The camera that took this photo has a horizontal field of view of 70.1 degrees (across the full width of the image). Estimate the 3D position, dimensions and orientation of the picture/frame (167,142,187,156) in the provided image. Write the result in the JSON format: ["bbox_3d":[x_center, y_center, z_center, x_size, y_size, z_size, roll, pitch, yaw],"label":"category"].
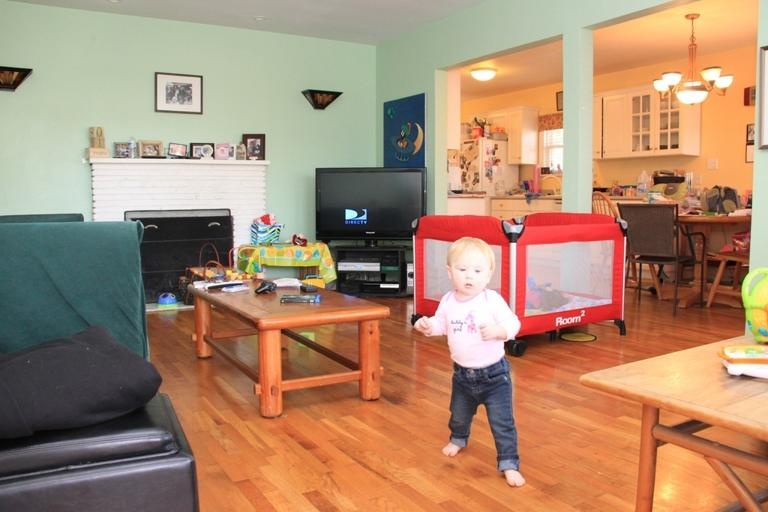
[{"bbox_3d":[-2.222,-1.125,5.890,0.199,0.142,0.176,5,-5,-12],"label":"picture/frame"}]

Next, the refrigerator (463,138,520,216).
[{"bbox_3d":[1.796,-1.444,9.425,0.714,1.207,0.642,-12,17,-21],"label":"refrigerator"}]

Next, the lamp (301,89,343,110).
[{"bbox_3d":[-0.725,-1.850,6.470,0.487,0.225,0.264,-4,11,-18],"label":"lamp"}]

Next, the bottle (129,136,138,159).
[{"bbox_3d":[-2.612,-1.118,5.663,0.082,0.201,0.115,-5,12,-20],"label":"bottle"}]

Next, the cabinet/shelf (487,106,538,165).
[{"bbox_3d":[2.174,-1.977,9.132,0.637,1.186,1.003,-2,5,-21],"label":"cabinet/shelf"}]

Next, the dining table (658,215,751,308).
[{"bbox_3d":[3.418,0.031,5.966,1.052,0.879,0.973,-4,5,-28],"label":"dining table"}]

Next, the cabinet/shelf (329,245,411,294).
[{"bbox_3d":[-0.136,0.188,6.364,0.816,0.520,0.423,1,1,6],"label":"cabinet/shelf"}]

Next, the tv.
[{"bbox_3d":[-0.140,-0.593,6.138,1.050,0.633,0.091,0,5,1],"label":"tv"}]

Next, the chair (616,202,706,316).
[{"bbox_3d":[2.836,-0.035,5.559,0.784,1.048,1.246,6,13,31],"label":"chair"}]

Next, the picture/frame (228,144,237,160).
[{"bbox_3d":[-1.692,-1.166,6.096,0.059,0.158,0.111,3,12,20],"label":"picture/frame"}]

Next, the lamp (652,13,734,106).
[{"bbox_3d":[3.522,-2.234,6.225,0.905,0.926,0.887,-11,13,-42],"label":"lamp"}]

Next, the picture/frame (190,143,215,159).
[{"bbox_3d":[-2.009,-1.143,5.979,0.209,0.160,0.069,-3,3,-13],"label":"picture/frame"}]

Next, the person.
[{"bbox_3d":[0.418,0.456,2.496,0.497,1.077,0.350,3,12,20],"label":"person"}]

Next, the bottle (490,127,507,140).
[{"bbox_3d":[1.916,-2.038,9.174,0.257,0.141,0.243,1,9,0],"label":"bottle"}]

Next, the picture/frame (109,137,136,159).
[{"bbox_3d":[-2.686,-1.096,5.648,0.228,0.201,0.058,1,-1,-8],"label":"picture/frame"}]

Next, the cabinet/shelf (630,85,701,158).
[{"bbox_3d":[3.746,-1.792,7.215,0.404,1.104,1.055,-4,5,-33],"label":"cabinet/shelf"}]

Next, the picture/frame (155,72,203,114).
[{"bbox_3d":[-2.235,-1.753,5.874,0.552,0.412,0.038,-1,8,-23],"label":"picture/frame"}]

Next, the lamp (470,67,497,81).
[{"bbox_3d":[1.369,-2.504,7.497,0.301,0.130,0.263,5,12,30],"label":"lamp"}]

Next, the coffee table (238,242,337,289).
[{"bbox_3d":[-1.032,0.035,5.869,0.691,0.315,0.719,0,-1,44],"label":"coffee table"}]

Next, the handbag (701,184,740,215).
[{"bbox_3d":[3.552,-0.598,5.875,0.384,0.332,0.373,-8,10,-39],"label":"handbag"}]
